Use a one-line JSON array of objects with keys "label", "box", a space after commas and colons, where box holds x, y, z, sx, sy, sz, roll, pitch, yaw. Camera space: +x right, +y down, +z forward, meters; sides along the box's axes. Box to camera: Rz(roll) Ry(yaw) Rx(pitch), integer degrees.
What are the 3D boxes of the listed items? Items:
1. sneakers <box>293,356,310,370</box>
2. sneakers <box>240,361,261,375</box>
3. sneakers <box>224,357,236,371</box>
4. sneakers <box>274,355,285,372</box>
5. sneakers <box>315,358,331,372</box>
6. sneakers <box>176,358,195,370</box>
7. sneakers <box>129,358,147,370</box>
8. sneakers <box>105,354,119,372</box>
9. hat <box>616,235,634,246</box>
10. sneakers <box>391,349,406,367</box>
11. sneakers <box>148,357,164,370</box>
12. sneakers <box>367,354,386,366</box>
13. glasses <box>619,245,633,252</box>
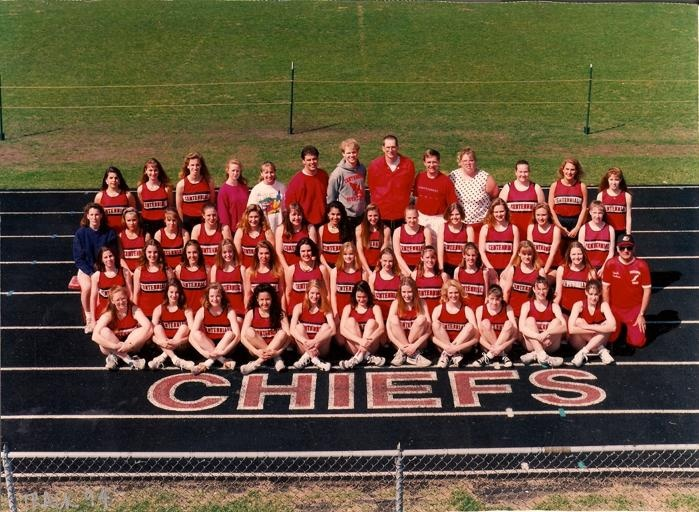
[{"label": "sneakers", "box": [-0.996, 2.216, 28.667, 0.396, 0.284, 0.154, -6, 15, -13]}, {"label": "sneakers", "box": [-2.052, 2.321, 28.493, 0.391, 0.237, 0.158, -24, 30, 8]}, {"label": "sneakers", "box": [-2.494, 2.252, 28.712, 0.272, 0.213, 0.264, 0, 15, 13]}, {"label": "sneakers", "box": [-1.451, 2.247, 28.633, 0.192, 0.326, 0.134, -9, -18, -10]}, {"label": "sneakers", "box": [-0.556, 2.235, 28.711, 0.370, 0.291, 0.287, 2, 15, 21]}, {"label": "sneakers", "box": [-3.422, 2.244, 28.577, 0.375, 0.154, 0.246, 13, 50, 3]}, {"label": "sneakers", "box": [-4.397, 2.235, 28.670, 0.299, 0.255, 0.220, 13, 24, 33]}, {"label": "sneakers", "box": [-4.938, 2.227, 28.602, 0.222, 0.217, 0.358, -1, 15, -14]}, {"label": "hat", "box": [5.837, -0.305, 28.975, 0.313, 0.232, 0.339, -1, 14, 10]}, {"label": "sneakers", "box": [1.025, 2.139, 28.729, 0.175, 0.181, 0.436, 6, 33, 29]}, {"label": "sneakers", "box": [-4.022, 2.238, 28.628, 0.339, 0.271, 0.176, -7, 15, -16]}, {"label": "sneakers", "box": [0.591, 2.195, 28.754, 0.437, 0.184, 0.202, 0, -7, 28]}, {"label": "glasses", "box": [5.840, -0.135, 28.892, 0.270, 0.158, 0.139, -5, 14, -6]}]
